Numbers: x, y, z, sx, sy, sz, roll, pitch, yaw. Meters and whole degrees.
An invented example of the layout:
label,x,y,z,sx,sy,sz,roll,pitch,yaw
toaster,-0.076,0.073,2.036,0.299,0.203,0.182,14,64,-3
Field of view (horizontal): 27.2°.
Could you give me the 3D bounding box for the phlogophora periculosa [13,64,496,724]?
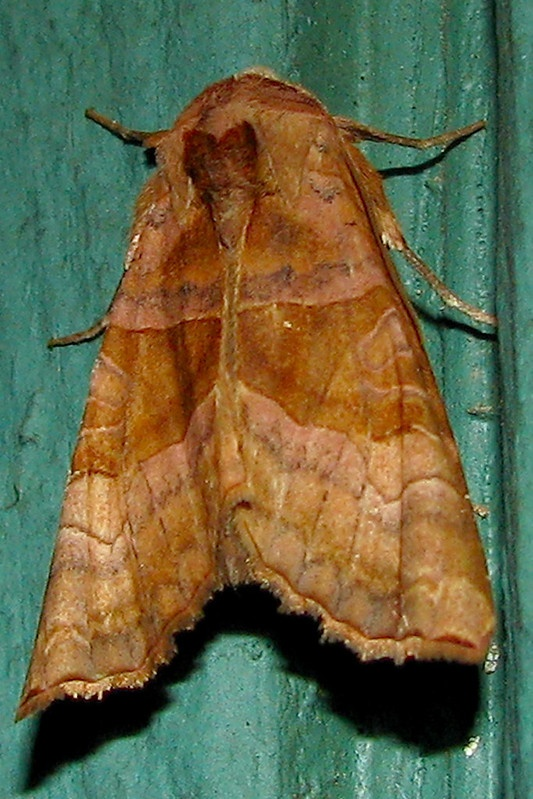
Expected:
label,x,y,z,sx,sy,sz,roll,pitch,yaw
phlogophora periculosa,-0.064,-0.051,2.156,0.857,1.214,0.207,-9,-16,11
